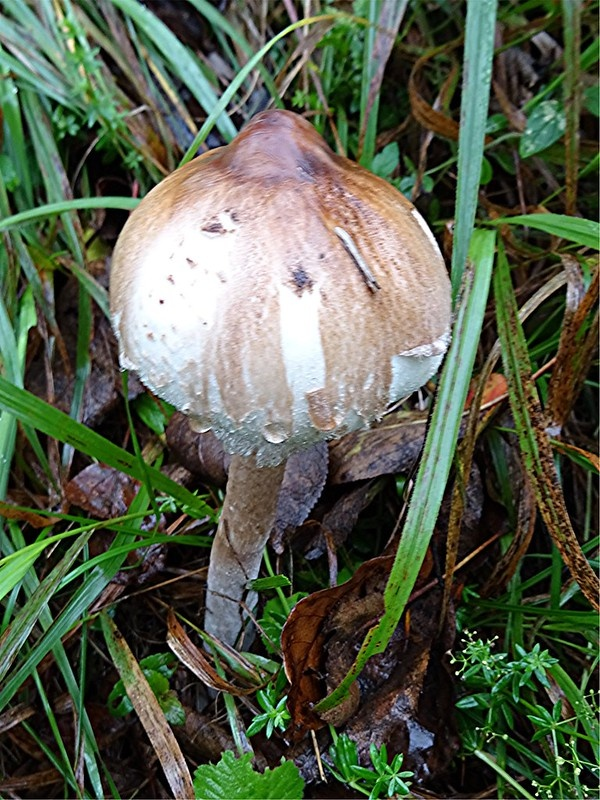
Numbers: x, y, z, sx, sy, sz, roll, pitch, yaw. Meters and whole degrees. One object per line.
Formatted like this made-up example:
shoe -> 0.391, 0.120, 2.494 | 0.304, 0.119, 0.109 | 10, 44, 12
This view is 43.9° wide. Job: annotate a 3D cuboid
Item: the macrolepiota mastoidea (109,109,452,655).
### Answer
macrolepiota mastoidea -> -0.050, -0.251, 1.670 | 0.766, 0.334, 0.734 | -12, 71, -4
